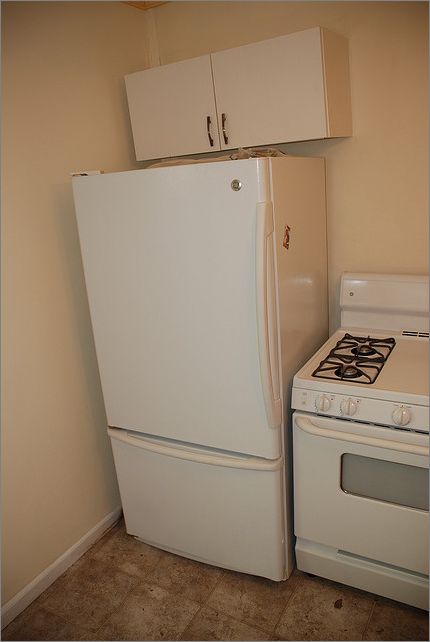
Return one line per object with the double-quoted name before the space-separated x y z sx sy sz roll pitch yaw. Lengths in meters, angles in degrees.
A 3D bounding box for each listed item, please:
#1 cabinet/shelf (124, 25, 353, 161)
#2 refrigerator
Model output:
"cabinet/shelf" 0.067 -0.846 1.925 0.843 0.348 0.261 6 22 33
"refrigerator" 0.032 0.170 1.972 0.748 1.581 0.749 2 14 30
